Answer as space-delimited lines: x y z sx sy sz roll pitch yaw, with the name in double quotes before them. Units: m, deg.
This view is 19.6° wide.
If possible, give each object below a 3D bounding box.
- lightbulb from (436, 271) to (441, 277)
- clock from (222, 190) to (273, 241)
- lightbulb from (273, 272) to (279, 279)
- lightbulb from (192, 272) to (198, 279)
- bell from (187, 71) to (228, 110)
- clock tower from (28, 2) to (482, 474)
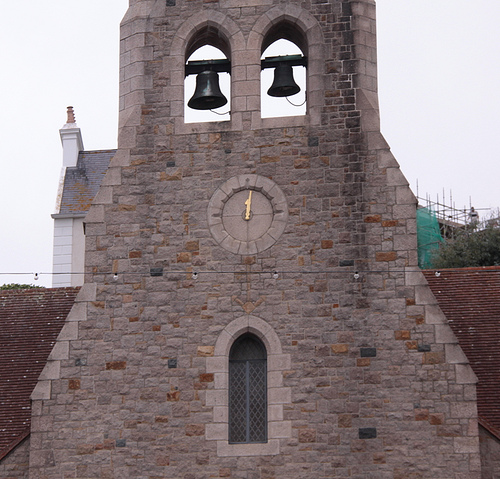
"lightbulb" 4.525 0.868 35.472 0.083 0.102 0.042 -2 -16 15
"clock" -0.019 -0.451 30.922 1.158 1.040 0.185 -1 -11 0
"lightbulb" 0.553 0.769 30.474 0.111 0.119 0.047 -2 -17 1
"lightbulb" -1.125 0.779 30.668 0.110 0.129 0.046 1 -4 9
"bell" -0.874 -3.472 32.461 0.943 0.923 0.922 -4 -3 0
"clock tower" 0.081 0.644 30.423 10.777 10.040 5.766 0 -4 0
